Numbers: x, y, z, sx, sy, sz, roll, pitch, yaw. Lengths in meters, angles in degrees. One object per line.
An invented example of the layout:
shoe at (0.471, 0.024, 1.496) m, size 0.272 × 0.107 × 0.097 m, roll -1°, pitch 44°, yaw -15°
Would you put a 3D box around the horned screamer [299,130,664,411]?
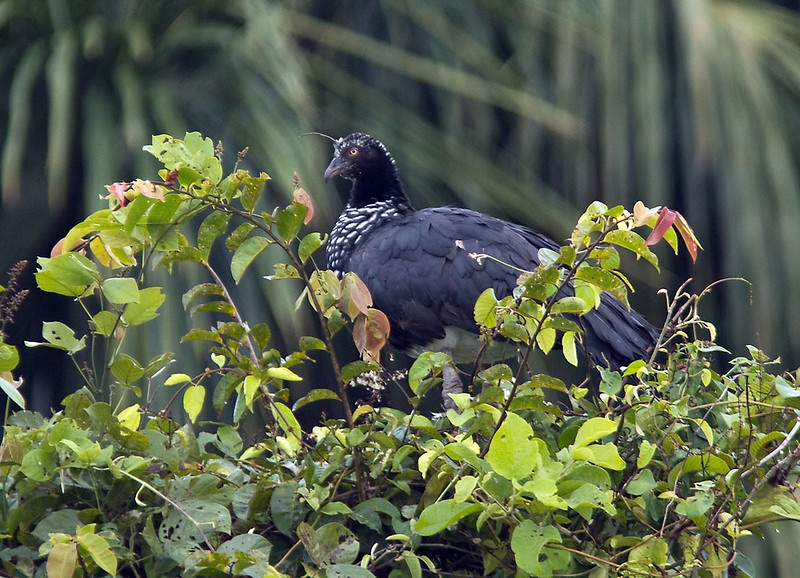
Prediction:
horned screamer at (0.332, -0.050, 4.193) m, size 1.198 × 0.774 × 0.575 m, roll 5°, pitch 10°, yaw 17°
